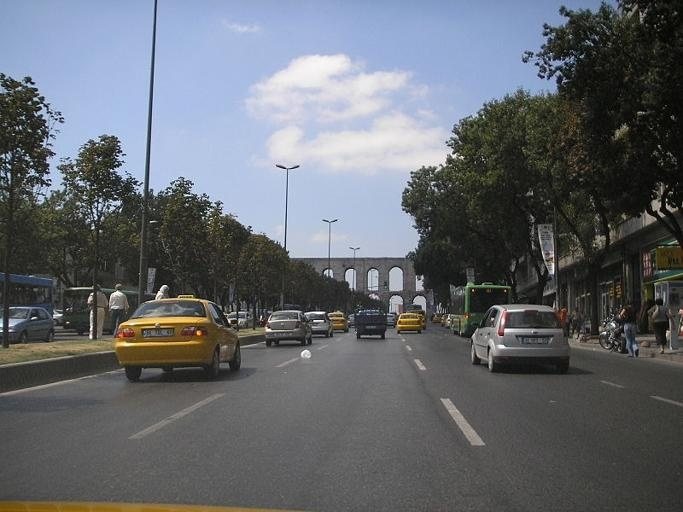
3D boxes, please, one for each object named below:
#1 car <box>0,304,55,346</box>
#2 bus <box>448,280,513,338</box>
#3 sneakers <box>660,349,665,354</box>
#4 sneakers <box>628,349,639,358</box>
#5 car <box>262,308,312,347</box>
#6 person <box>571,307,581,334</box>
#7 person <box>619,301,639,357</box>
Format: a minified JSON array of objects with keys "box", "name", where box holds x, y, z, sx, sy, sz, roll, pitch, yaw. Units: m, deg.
[{"box":[-13.181,2.940,26.105,1.429,1.458,2.833,-2,-11,6],"name":"car"},{"box":[9.415,3.692,42.913,2.878,4.708,9.144,1,-5,-1],"name":"bus"},{"box":[11.903,3.538,23.151,0.090,0.119,0.190,-4,-12,12],"name":"sneakers"},{"box":[10.605,3.566,22.645,0.168,0.259,0.593,-2,-16,6],"name":"sneakers"},{"box":[-2.481,3.348,29.064,1.968,1.641,2.548,0,-6,-6],"name":"car"},{"box":[14.020,3.915,37.150,0.347,1.622,1.483,-2,-5,19],"name":"person"},{"box":[10.267,2.603,22.292,0.509,1.973,1.107,-2,-5,28],"name":"person"}]
